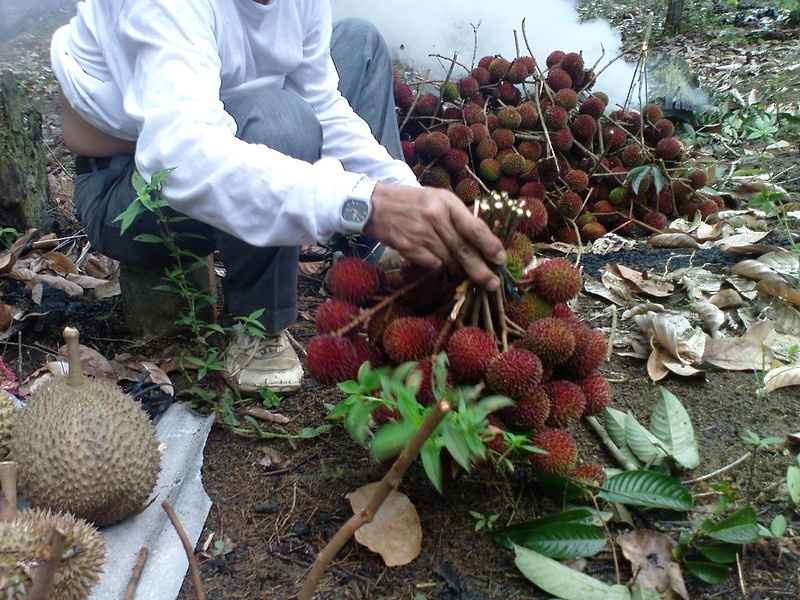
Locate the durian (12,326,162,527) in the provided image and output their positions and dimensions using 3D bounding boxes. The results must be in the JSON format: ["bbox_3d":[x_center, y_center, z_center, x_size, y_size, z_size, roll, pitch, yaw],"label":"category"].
[{"bbox_3d":[-0.819,0.334,1.659,0.346,0.453,0.311,-6,34,-20],"label":"durian"}]

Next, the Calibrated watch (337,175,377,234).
[{"bbox_3d":[-0.111,-0.302,1.684,0.081,0.142,0.146,17,23,0],"label":"Calibrated watch"}]

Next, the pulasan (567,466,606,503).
[{"bbox_3d":[0.477,0.524,1.721,0.087,0.097,0.101,17,53,-22],"label":"pulasan"}]

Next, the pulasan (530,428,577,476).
[{"bbox_3d":[0.389,0.414,1.687,0.117,0.132,0.126,0,1,2],"label":"pulasan"}]
